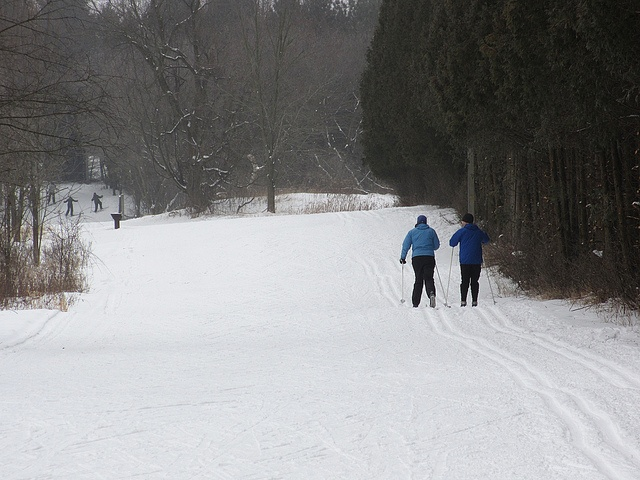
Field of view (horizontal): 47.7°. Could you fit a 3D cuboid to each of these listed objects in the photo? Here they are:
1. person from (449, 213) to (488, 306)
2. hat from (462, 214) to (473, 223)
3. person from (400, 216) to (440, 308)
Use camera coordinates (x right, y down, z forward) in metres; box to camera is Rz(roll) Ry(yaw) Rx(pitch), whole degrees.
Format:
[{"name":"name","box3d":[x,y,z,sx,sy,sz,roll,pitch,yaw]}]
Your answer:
[{"name":"person","box3d":[3.075,0.421,14.887,0.720,1.887,1.075,1,9,14]},{"name":"hat","box3d":[3.075,-0.459,15.046,0.167,0.235,0.220,2,12,4]},{"name":"person","box3d":[2.103,0.420,15.191,0.765,1.820,1.330,0,9,7]}]
